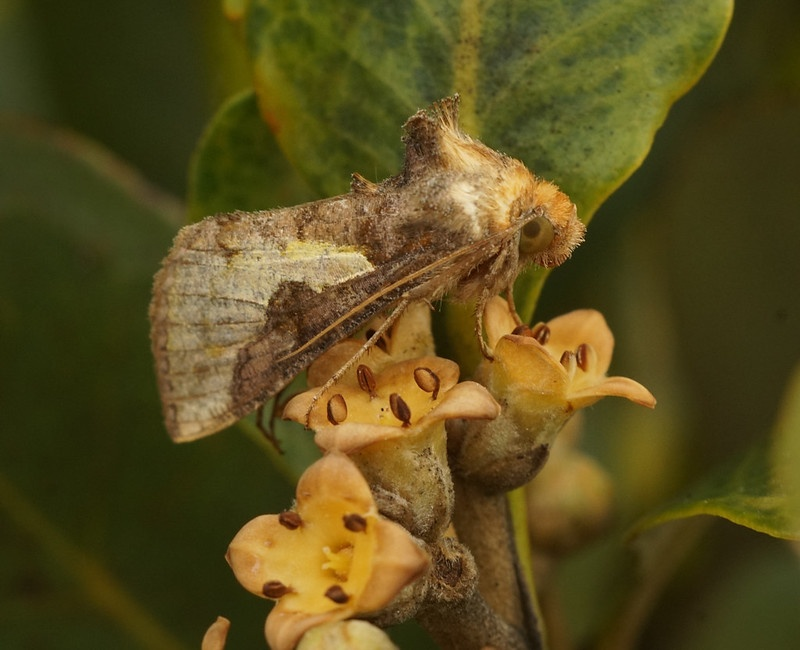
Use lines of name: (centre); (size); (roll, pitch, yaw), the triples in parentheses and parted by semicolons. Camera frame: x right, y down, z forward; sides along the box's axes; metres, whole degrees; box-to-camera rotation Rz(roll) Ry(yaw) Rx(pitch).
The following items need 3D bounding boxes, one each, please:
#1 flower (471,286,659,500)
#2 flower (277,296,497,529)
flower: (0.276, 0.132, 1.957); (0.345, 0.351, 0.195); (15, 87, 46)
flower: (-0.032, 0.162, 1.875); (0.298, 0.262, 0.462); (27, 35, 3)
